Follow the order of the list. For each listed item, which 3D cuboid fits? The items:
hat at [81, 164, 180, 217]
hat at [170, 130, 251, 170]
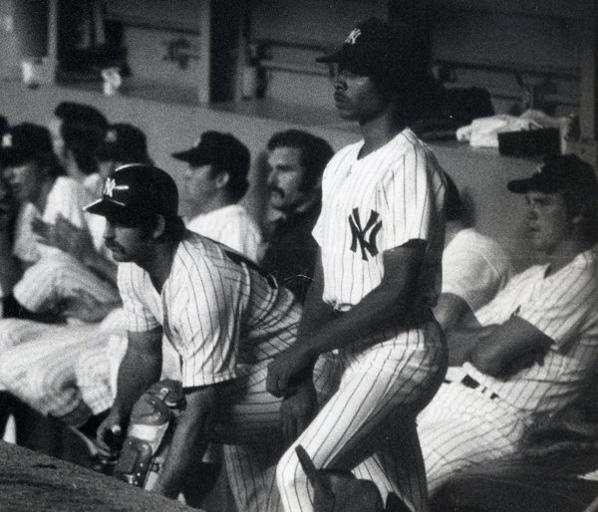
[{"bbox_3d":[-0.737,-0.286,7.129,0.315,0.164,0.235,11,5,9],"label":"hat"},{"bbox_3d":[-0.369,-0.474,6.901,0.256,0.132,0.160,19,8,12],"label":"hat"}]
